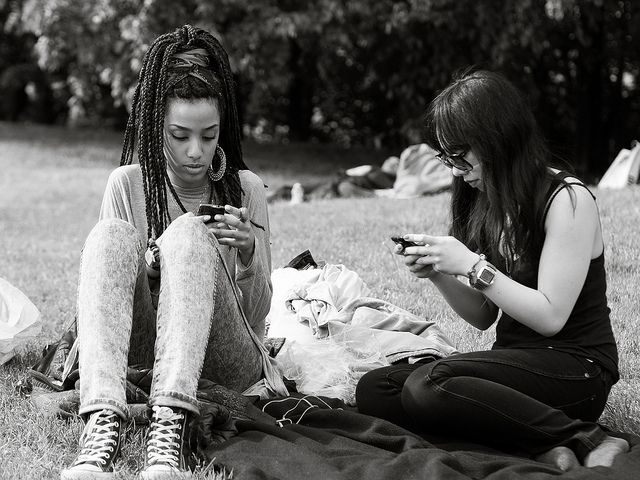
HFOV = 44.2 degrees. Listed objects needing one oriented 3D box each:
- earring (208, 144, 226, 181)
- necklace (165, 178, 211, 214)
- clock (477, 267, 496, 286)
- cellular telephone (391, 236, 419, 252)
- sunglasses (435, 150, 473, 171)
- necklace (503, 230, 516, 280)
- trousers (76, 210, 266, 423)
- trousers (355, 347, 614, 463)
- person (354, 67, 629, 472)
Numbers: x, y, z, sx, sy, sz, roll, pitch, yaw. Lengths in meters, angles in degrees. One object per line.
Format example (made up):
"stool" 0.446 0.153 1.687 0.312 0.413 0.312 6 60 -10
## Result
"earring" -0.588 -0.428 4.513 0.131 0.174 0.037 -3 4 23
"necklace" -0.768 -0.248 4.483 0.239 0.181 0.057 -3 11 -14
"clock" 0.840 0.184 4.071 0.062 0.096 0.092 46 -6 3
"cellular telephone" 0.427 0.021 4.243 0.120 0.080 0.165 -6 14 -42
"sunglasses" 0.722 -0.415 4.205 0.123 0.040 0.122 24 -11 -23
"necklace" 1.009 0.090 4.251 0.011 0.238 0.070 -15 15 -25
"trousers" -0.820 0.472 4.068 0.715 0.565 1.148 -5 51 -8
"trousers" 0.885 0.792 3.939 0.702 0.293 0.767 0 -7 -11
"person" 0.980 0.092 4.031 1.257 1.909 0.964 9 11 26
